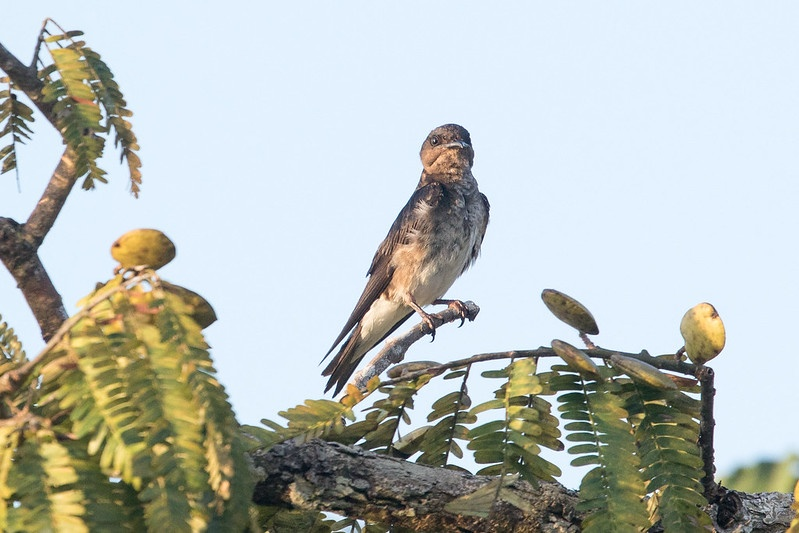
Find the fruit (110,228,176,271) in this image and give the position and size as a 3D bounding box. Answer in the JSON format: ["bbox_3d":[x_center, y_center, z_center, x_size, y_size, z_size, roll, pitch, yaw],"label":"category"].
[{"bbox_3d":[-0.849,-0.052,5.090,0.190,0.154,0.112,3,8,-9],"label":"fruit"}]

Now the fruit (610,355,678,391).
[{"bbox_3d":[0.932,0.410,5.885,0.248,0.176,0.159,-4,-36,12],"label":"fruit"}]

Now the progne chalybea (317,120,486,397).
[{"bbox_3d":[0.103,-0.060,10.296,0.980,2.650,0.959,4,-34,1],"label":"progne chalybea"}]

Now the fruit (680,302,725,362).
[{"bbox_3d":[1.170,0.270,5.932,0.140,0.264,0.194,21,-23,-37],"label":"fruit"}]
